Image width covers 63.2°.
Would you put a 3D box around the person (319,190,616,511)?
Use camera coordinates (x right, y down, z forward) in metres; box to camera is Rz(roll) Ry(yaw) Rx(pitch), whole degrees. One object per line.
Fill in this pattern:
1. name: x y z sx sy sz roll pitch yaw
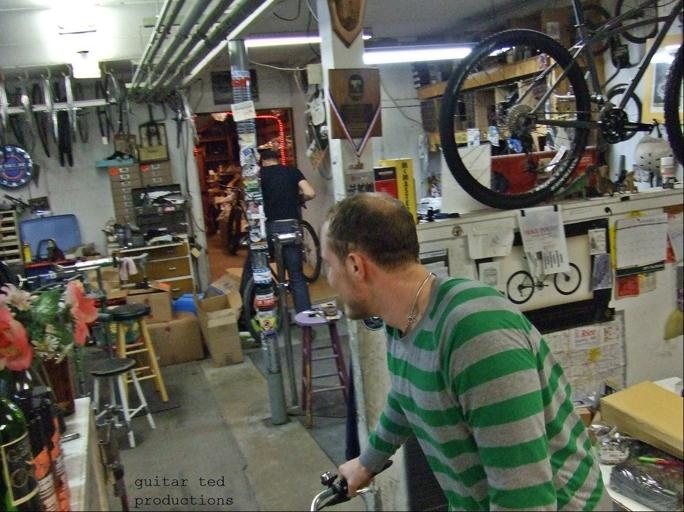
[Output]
1. person: 0.383 0.343 1.921 0.844 1.168 0.460 -2 10 36

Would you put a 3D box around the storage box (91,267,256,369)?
1. storage box: -1.636 0.626 5.939 1.034 0.602 0.993 -5 7 -19

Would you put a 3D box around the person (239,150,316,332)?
1. person: -0.714 -0.288 6.050 0.946 1.781 1.164 -9 8 -10

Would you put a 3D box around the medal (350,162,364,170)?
1. medal: 0.090 -0.543 3.365 0.092 0.054 0.011 -10 8 -23

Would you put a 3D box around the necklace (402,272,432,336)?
1. necklace: 0.270 0.155 1.933 0.035 0.170 0.102 26 -9 -5
